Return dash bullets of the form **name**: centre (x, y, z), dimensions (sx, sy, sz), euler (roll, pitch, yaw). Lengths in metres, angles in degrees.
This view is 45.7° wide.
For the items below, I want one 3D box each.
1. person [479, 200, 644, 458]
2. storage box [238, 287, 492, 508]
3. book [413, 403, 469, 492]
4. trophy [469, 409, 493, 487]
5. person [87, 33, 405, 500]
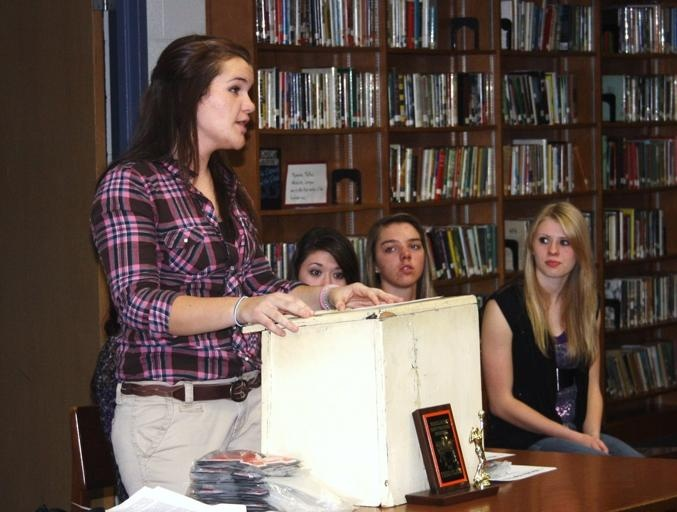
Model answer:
- **person**: centre (0.993, 0.300, 3.810), dimensions (0.637, 1.045, 0.429), euler (-5, -3, -32)
- **storage box**: centre (0.085, 0.341, 2.511), dimensions (0.696, 0.553, 0.713), euler (-1, 8, 3)
- **book**: centre (0.282, 0.545, 2.279), dimensions (0.197, 0.299, 0.034), euler (-9, -6, -46)
- **trophy**: centre (0.418, 0.568, 2.374), dimensions (0.085, 0.210, 0.053), euler (-6, 11, -43)
- **person**: centre (-0.350, 0.420, 2.655), dimensions (0.834, 2.277, 0.815), euler (3, -2, -44)
